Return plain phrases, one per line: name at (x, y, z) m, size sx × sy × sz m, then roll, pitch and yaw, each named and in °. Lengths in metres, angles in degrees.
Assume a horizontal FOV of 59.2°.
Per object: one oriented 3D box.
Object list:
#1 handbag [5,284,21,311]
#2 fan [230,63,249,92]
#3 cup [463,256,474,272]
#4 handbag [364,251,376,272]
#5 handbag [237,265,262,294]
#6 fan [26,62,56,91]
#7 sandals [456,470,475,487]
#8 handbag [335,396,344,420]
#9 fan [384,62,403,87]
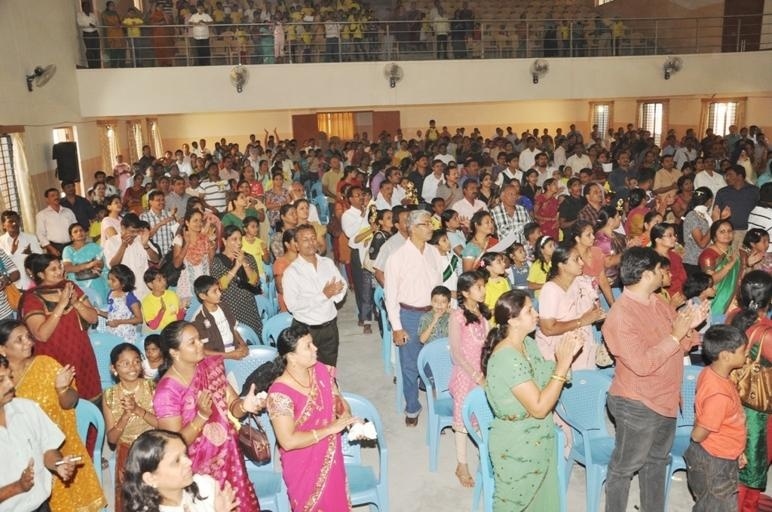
handbag at (-4.093, 0.446, 7.425) m, size 0.125 × 0.290 × 0.666 m, roll -8°, pitch 11°, yaw -30°
fan at (-3.007, -3.640, 13.918) m, size 0.373 × 0.536 × 0.185 m, roll -5°, pitch 9°, yaw -12°
cup at (0.934, 0.081, 7.714) m, size 0.131 × 0.168 × 0.145 m, roll 5°, pitch 15°, yaw 31°
handbag at (-0.221, 0.070, 8.745) m, size 0.143 × 0.213 × 0.072 m, roll 2°, pitch -7°, yaw -12°
handbag at (-1.585, 0.260, 7.777) m, size 0.228 × 0.333 × 0.164 m, roll -16°, pitch 30°, yaw -36°
fan at (-6.049, -3.178, 11.878) m, size 0.413 × 0.214 × 0.524 m, roll -40°, pitch -5°, yaw 36°
sandals at (0.758, 2.116, 6.578) m, size 0.096 × 0.156 × 0.209 m, roll -5°, pitch 9°, yaw -24°
handbag at (-0.394, 1.265, 5.734) m, size 0.098 × 0.130 × 0.134 m, roll 1°, pitch 5°, yaw -13°
fan at (0.137, -3.874, 14.379) m, size 0.392 × 0.631 × 0.398 m, roll -1°, pitch 12°, yaw -5°
